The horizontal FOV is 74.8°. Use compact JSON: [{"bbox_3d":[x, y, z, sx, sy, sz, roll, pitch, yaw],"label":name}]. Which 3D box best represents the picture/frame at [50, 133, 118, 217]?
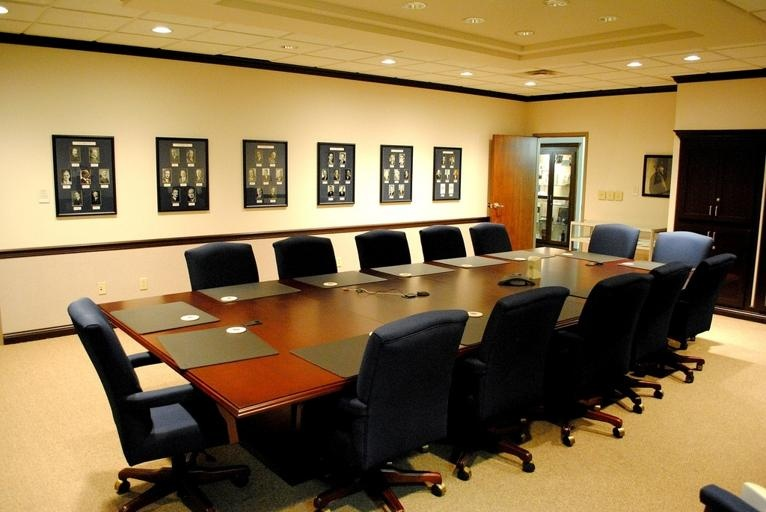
[{"bbox_3d":[-3.364,-0.885,5.626,0.663,0.895,0.085,-8,13,-23],"label":"picture/frame"}]

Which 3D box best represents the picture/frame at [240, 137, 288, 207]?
[{"bbox_3d":[-1.570,-1.061,6.613,0.661,0.878,0.110,-12,15,-38],"label":"picture/frame"}]

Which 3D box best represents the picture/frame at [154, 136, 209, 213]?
[{"bbox_3d":[-2.451,-0.975,6.115,0.658,0.892,0.134,-7,13,-20],"label":"picture/frame"}]

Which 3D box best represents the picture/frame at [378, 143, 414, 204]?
[{"bbox_3d":[0.178,-1.242,7.723,0.648,0.885,0.119,-13,16,-42],"label":"picture/frame"}]
